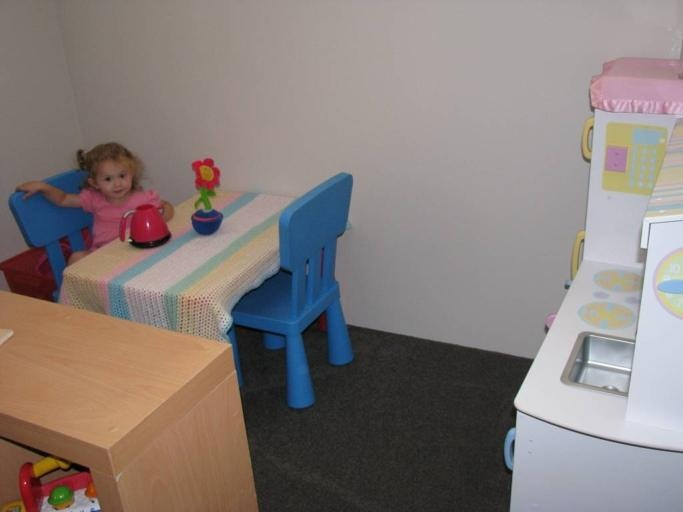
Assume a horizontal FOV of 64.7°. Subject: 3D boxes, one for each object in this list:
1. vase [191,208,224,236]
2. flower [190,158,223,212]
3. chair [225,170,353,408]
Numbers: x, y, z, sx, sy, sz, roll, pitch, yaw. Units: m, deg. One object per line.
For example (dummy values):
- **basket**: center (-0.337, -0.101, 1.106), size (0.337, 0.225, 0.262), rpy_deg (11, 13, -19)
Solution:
- **vase**: center (-0.543, -0.145, 2.212), size (0.106, 0.092, 0.110), rpy_deg (10, 28, 21)
- **flower**: center (-0.582, -0.281, 2.230), size (0.115, 0.204, 0.116), rpy_deg (1, -5, 23)
- **chair**: center (-0.231, 0.115, 2.300), size (0.581, 0.851, 0.602), rpy_deg (-8, 23, -14)
